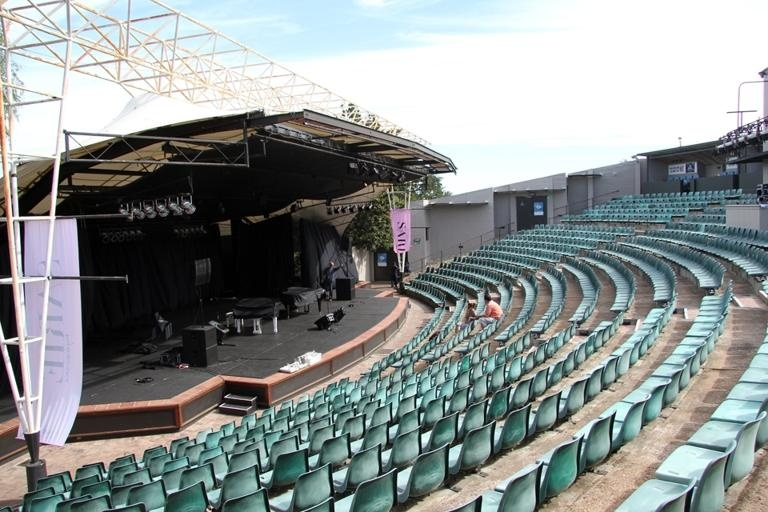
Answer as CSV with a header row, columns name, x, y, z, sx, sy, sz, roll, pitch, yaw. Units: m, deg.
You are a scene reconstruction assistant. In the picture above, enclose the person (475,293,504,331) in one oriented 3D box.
name,x,y,z,sx,sy,sz,roll,pitch,yaw
person,2.917,1.571,15.264,1.070,1.249,0.567,5,42,19
